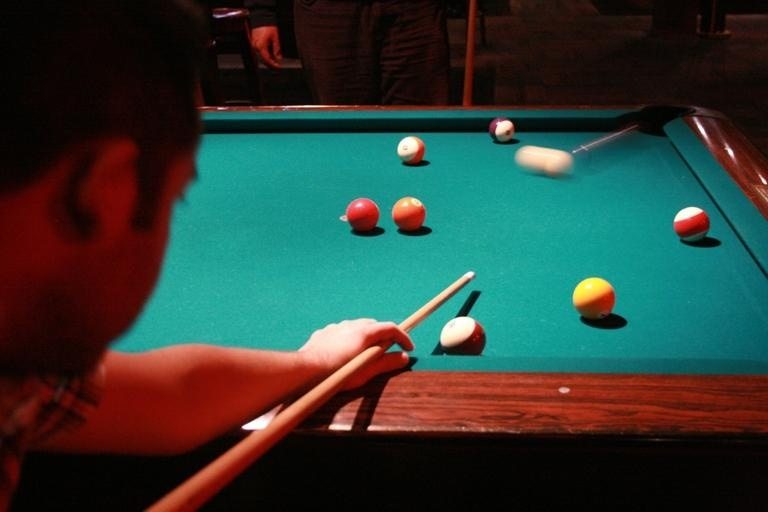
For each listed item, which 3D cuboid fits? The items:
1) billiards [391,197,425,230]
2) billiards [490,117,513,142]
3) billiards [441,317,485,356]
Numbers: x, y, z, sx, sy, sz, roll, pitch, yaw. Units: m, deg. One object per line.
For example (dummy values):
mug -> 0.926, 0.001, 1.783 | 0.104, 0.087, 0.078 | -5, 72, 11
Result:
billiards -> 0.093, -0.172, 2.293 | 0.115, 0.120, 0.126 | 13, 108, 27
billiards -> 0.554, -0.596, 2.913 | 0.100, 0.120, 0.091 | 6, 89, 1
billiards -> 0.217, 0.222, 1.701 | 0.120, 0.103, 0.097 | 3, 59, 22
